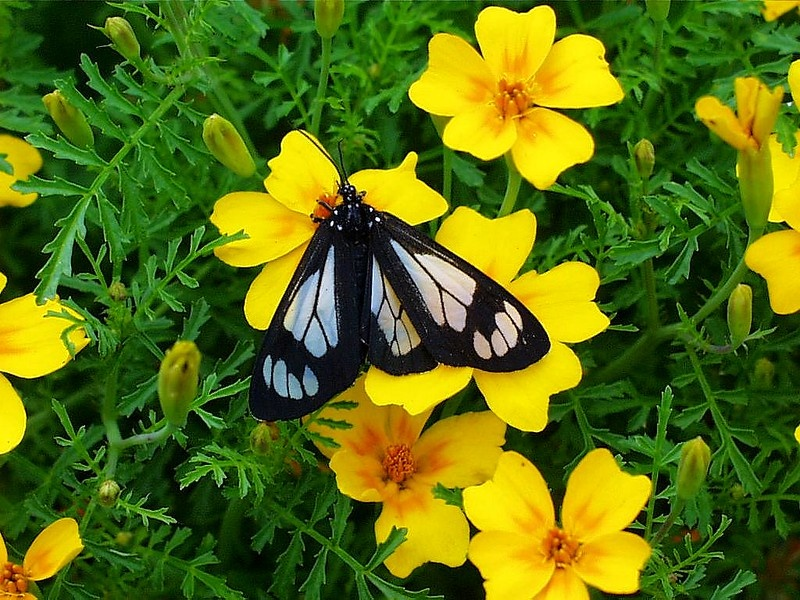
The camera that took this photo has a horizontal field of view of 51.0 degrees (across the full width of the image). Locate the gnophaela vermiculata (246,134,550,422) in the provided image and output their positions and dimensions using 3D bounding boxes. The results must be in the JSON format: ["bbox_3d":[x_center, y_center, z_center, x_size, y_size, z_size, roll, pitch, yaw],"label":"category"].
[{"bbox_3d":[-0.015,-0.006,1.179,0.416,0.067,0.279,-9,69,-3],"label":"gnophaela vermiculata"}]
